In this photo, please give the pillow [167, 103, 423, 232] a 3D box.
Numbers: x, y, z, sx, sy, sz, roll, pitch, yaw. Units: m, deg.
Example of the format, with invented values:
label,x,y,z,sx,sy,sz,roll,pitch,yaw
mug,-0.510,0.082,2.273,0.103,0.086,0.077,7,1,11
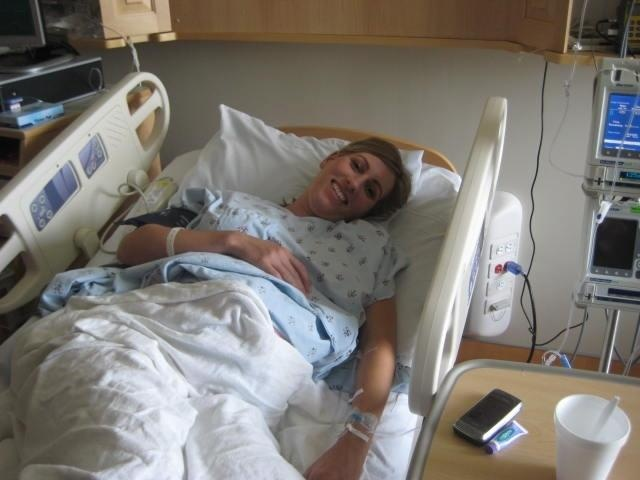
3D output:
label,x,y,z,sx,sy,sz,roll,pitch,yaw
pillow,-0.214,-0.309,2.018,0.705,0.185,0.507,11,61,-5
